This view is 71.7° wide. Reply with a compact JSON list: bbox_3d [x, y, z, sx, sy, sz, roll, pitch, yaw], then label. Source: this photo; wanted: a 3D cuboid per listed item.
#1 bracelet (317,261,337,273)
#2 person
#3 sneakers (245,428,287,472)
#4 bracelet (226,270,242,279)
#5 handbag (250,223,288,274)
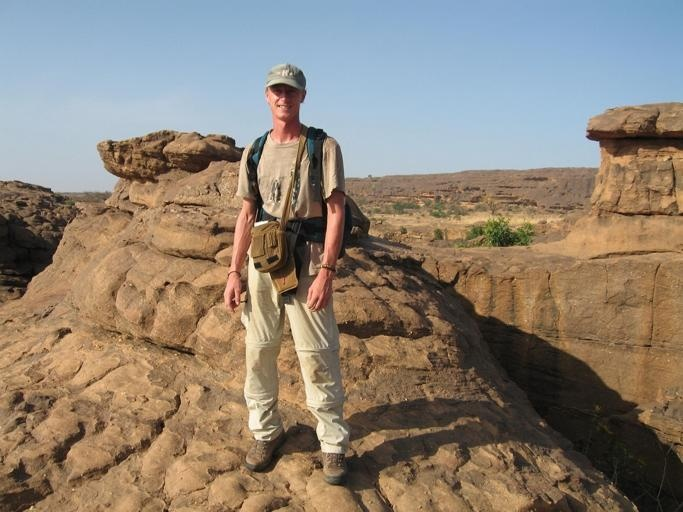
[{"bbox_3d":[-0.098,0.081,3.461,0.083,0.040,0.075,2,-9,38],"label":"bracelet"},{"bbox_3d":[-0.392,0.151,3.612,0.746,3.110,1.075,-10,16,-42],"label":"person"},{"bbox_3d":[-0.638,1.584,3.828,0.179,0.156,0.414,-1,2,19],"label":"sneakers"},{"bbox_3d":[-0.866,0.143,3.808,0.106,0.064,0.173,1,0,-14],"label":"bracelet"},{"bbox_3d":[-0.548,-0.067,3.546,0.309,0.368,0.179,5,12,21],"label":"handbag"}]
